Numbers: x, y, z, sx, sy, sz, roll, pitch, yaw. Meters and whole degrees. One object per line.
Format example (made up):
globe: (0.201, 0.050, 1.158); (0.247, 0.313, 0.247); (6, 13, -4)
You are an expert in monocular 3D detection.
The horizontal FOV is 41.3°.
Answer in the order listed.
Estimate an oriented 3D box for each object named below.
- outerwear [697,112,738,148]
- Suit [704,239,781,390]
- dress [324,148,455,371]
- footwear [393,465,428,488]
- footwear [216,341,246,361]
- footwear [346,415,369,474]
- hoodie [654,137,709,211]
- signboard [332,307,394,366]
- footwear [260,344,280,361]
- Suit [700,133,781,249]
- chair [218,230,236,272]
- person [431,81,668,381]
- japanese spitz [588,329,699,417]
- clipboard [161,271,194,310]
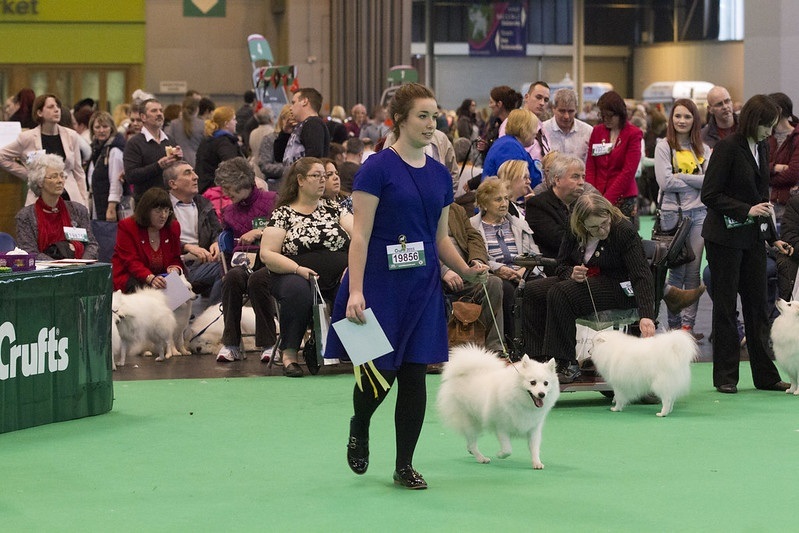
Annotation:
outerwear: (3.384, -1.442, 11.252); (0.273, 0.259, 0.154); (1, -30, -4)
Suit: (2.946, 0.290, 9.070); (0.465, 1.618, 0.348); (-3, 14, 11)
dress: (-0.021, -0.085, 7.073); (0.732, 1.415, 0.520); (0, 8, -23)
footwear: (0.075, 1.371, 7.021); (0.106, 0.121, 0.226); (0, 0, -37)
footwear: (-1.615, 0.814, 10.230); (0.108, 0.174, 0.317); (-4, -9, 36)
footwear: (-0.279, 1.186, 7.124); (0.110, 0.414, 0.144); (-2, 17, -3)
hoodie: (2.897, -0.875, 10.827); (0.501, 0.853, 0.404); (2, -6, -9)
signboard: (-0.241, 0.446, 6.817); (0.392, 0.355, 0.162); (-1, 9, -5)
footwear: (-1.213, 0.804, 9.886); (0.096, 0.157, 0.304); (0, -12, -4)
Suit: (2.872, -0.623, 8.963); (0.567, 0.921, 0.317); (-3, 9, -18)
chair: (-1.696, -0.145, 10.515); (0.156, 0.367, 0.268); (-4, 10, -27)
person: (1.569, -0.206, 9.092); (1.042, 2.056, 1.951); (-3, 18, -30)
japanese spitz: (1.916, 0.816, 8.342); (0.901, 0.848, 0.465); (4, -1, 32)
clipboard: (-2.099, 0.232, 10.049); (0.253, 0.328, 0.159); (-4, 9, -21)
